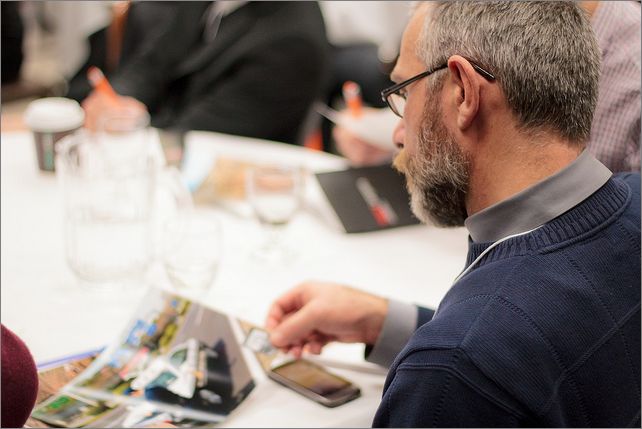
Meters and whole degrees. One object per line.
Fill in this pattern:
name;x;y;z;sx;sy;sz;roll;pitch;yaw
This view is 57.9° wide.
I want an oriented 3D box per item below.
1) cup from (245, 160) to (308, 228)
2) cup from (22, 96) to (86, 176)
cup;-0.151;-0.027;1.608;0.159;0.174;0.166;5;74;-17
cup;-0.803;-0.233;1.733;0.173;0.195;0.169;7;22;-3
